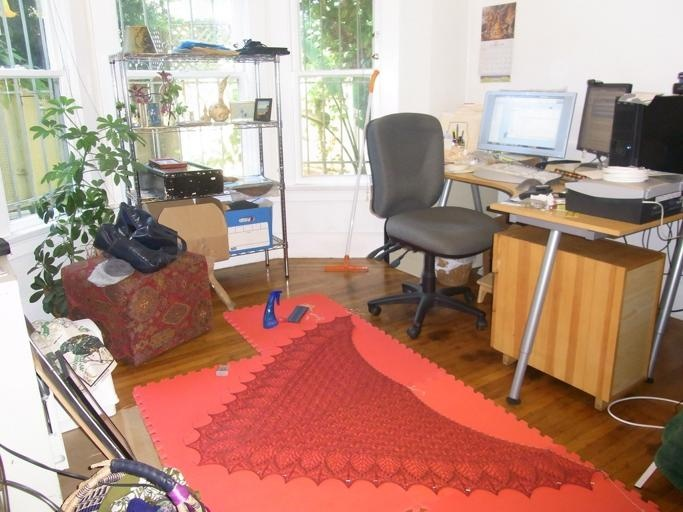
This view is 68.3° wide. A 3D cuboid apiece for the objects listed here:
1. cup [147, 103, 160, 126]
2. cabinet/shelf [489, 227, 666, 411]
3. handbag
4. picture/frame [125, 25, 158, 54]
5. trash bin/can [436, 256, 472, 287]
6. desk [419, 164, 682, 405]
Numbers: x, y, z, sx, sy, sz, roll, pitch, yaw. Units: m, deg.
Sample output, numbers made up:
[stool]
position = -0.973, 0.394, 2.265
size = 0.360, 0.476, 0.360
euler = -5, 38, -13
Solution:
[cup]
position = -1.254, -0.949, 3.364
size = 0.066, 0.141, 0.068
euler = -2, 24, 1
[cabinet/shelf]
position = 1.125, 0.311, 2.399
size = 0.400, 0.682, 0.711
euler = -15, 24, -36
[handbag]
position = -1.131, -0.098, 2.816
size = 0.455, 0.147, 0.383
euler = 32, 41, 10
[picture/frame]
position = -1.234, -1.318, 3.116
size = 0.212, 0.146, 0.199
euler = -9, 30, -21
[trash bin/can]
position = 0.810, 0.100, 3.673
size = 0.230, 0.164, 0.230
euler = -5, 15, -14
[desk]
position = 0.985, 0.007, 2.764
size = 1.460, 0.997, 1.137
euler = 14, 22, 13
